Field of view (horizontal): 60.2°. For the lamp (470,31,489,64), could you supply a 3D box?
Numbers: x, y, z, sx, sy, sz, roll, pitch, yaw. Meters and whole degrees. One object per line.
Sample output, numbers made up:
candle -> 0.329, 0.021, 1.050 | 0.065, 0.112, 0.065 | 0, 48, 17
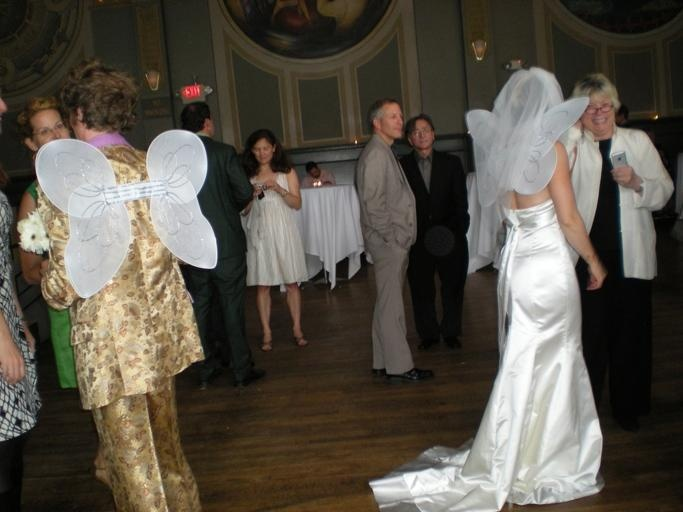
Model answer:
lamp -> 2.116, -3.282, 9.147 | 0.360, 0.593, 0.142 | -5, -3, -4

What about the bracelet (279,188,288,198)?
bracelet -> -0.447, -0.486, 4.523 | 0.041, 0.064, 0.018 | -9, 10, -12

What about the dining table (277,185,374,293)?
dining table -> -0.134, -0.238, 6.727 | 0.889, 1.466, 1.017 | -3, 15, 5

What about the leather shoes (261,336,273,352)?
leather shoes -> -0.602, 0.711, 4.737 | 0.077, 0.047, 0.248 | 0, 7, -3

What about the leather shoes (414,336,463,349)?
leather shoes -> 0.715, 0.610, 4.406 | 0.332, 0.166, 0.123 | 0, 6, -1
